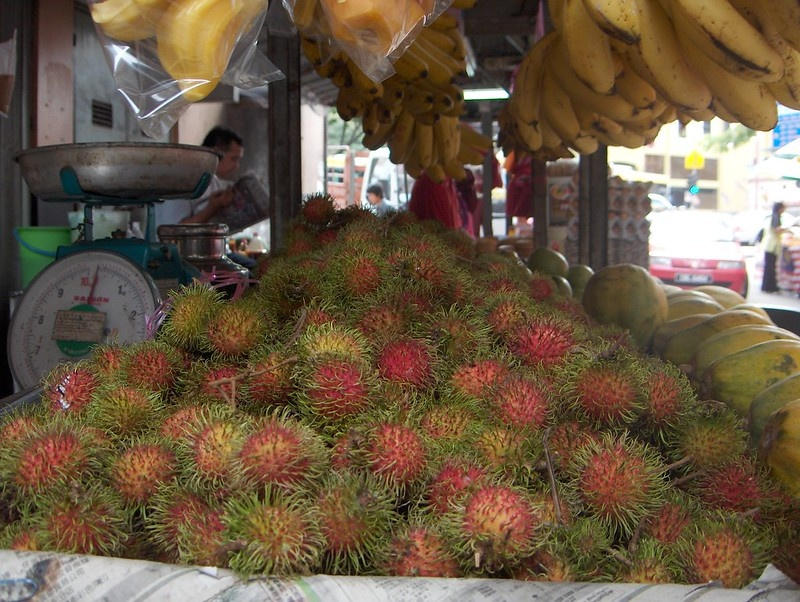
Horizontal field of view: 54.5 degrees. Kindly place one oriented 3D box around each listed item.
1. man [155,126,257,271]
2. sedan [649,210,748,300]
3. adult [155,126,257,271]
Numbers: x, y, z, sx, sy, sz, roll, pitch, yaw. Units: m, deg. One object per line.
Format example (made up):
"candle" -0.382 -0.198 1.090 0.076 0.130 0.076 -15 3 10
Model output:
"man" -1.050 -0.566 4.736 0.553 1.060 0.644 0 20 6
"sedan" 2.951 -0.512 7.827 0.880 0.879 2.306 1 1 20
"adult" -1.105 -0.582 4.704 0.505 0.950 0.562 6 10 -4
